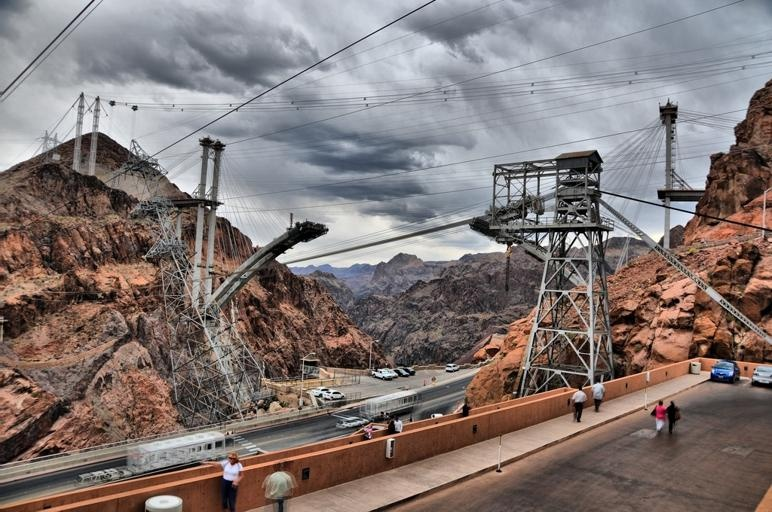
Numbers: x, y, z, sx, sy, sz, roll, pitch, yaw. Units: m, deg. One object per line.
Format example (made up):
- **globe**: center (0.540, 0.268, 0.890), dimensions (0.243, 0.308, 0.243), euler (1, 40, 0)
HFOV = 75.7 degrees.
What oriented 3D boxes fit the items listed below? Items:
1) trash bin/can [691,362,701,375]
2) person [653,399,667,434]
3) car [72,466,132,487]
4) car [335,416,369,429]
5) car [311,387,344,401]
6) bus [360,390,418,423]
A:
- **trash bin/can**: center (24.072, 8.626, 38.447), dimensions (0.899, 0.802, 0.863), euler (3, -1, 4)
- **person**: center (14.035, 8.216, 25.449), dimensions (0.594, 1.175, 1.100), euler (1, 0, 32)
- **car**: center (-21.375, 16.604, 37.567), dimensions (2.837, 0.556, 1.699), euler (0, 0, -35)
- **car**: center (-3.567, 17.681, 52.699), dimensions (2.917, 0.658, 1.708), euler (-2, 3, -24)
- **car**: center (-7.345, 18.262, 65.500), dimensions (1.668, 0.743, 2.970), euler (5, 3, 44)
- **bus**: center (0.612, 17.322, 58.541), dimensions (7.487, 1.957, 2.550), euler (-7, 10, -41)
